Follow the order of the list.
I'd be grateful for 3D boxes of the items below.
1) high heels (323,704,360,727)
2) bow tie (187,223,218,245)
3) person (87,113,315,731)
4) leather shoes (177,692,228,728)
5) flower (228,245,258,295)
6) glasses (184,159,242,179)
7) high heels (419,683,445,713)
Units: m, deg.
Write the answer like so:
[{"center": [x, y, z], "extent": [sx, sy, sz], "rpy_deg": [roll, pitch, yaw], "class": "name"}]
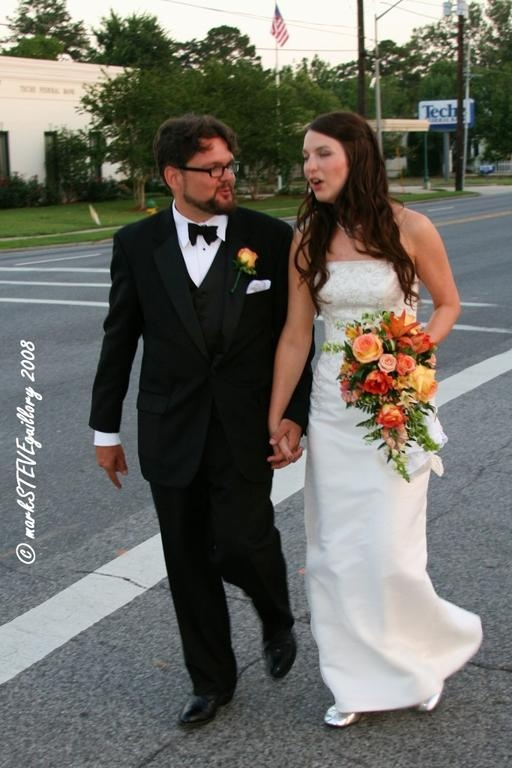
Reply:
[{"center": [0.260, 1.021, 2.100], "extent": [0.102, 0.049, 0.068], "rpy_deg": [-2, 9, 16], "class": "high heels"}, {"center": [-0.176, -0.488, 2.201], "extent": [0.087, 0.059, 0.016], "rpy_deg": [-1, 6, -15], "class": "bow tie"}, {"center": [-0.154, 0.094, 2.247], "extent": [0.760, 1.911, 0.532], "rpy_deg": [-7, 10, -13], "class": "person"}, {"center": [-0.171, 1.019, 2.133], "extent": [0.055, 0.049, 0.148], "rpy_deg": [6, 1, 32], "class": "leather shoes"}, {"center": [-0.035, -0.374, 2.232], "extent": [0.089, 0.136, 0.082], "rpy_deg": [25, 9, 28], "class": "flower"}, {"center": [-0.132, -0.676, 2.158], "extent": [0.187, 0.058, 0.072], "rpy_deg": [-9, 10, -33], "class": "glasses"}, {"center": [0.553, 1.001, 2.185], "extent": [0.067, 0.070, 0.083], "rpy_deg": [4, 38, 33], "class": "high heels"}]
